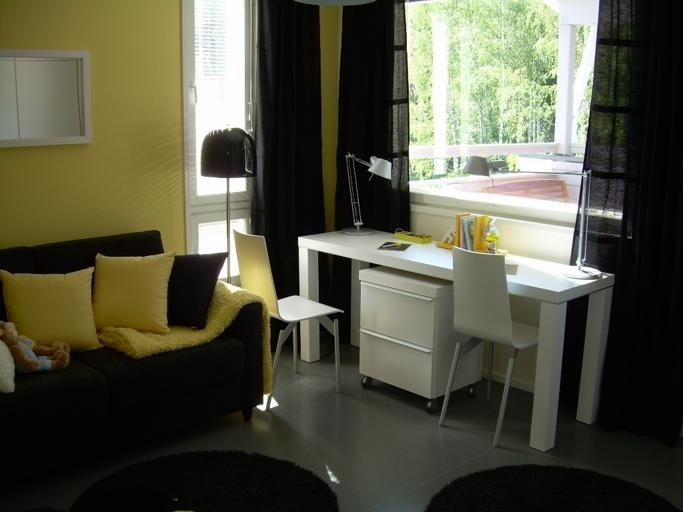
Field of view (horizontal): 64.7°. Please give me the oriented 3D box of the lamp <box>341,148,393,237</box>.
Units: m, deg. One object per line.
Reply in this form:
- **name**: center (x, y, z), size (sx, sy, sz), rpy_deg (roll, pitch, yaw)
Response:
- **lamp**: center (0.193, -0.479, 4.096), size (0.365, 0.596, 0.607), rpy_deg (1, 12, 4)

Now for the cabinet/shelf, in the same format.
- **cabinet/shelf**: center (0.479, 0.503, 3.596), size (0.620, 0.845, 0.564), rpy_deg (9, 15, 34)

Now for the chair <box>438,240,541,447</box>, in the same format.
- **chair**: center (0.836, 0.465, 3.139), size (0.513, 1.074, 0.505), rpy_deg (-3, 12, -19)

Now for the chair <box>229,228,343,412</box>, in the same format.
- **chair**: center (-0.407, 0.383, 3.560), size (0.757, 1.142, 0.750), rpy_deg (-4, 11, -12)
